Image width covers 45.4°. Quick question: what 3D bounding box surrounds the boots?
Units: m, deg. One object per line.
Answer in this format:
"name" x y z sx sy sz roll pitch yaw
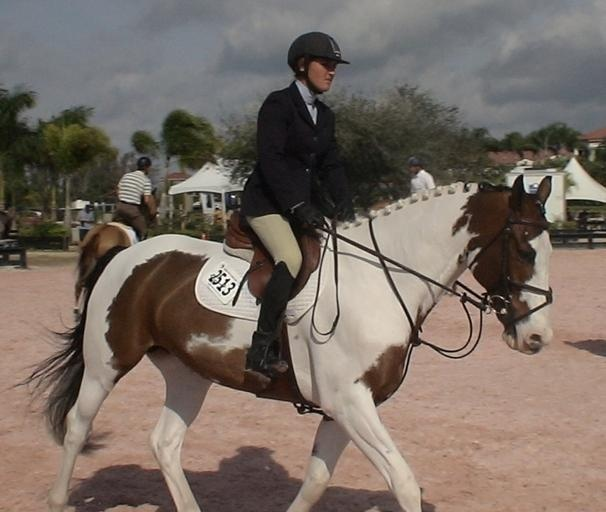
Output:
"boots" -0.192 0.383 4.286 0.270 0.691 0.153 -6 10 -32

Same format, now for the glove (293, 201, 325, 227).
"glove" 0.028 -0.245 4.267 0.206 0.113 0.075 17 30 28

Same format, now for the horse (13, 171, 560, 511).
"horse" -0.136 0.595 4.520 3.174 2.151 0.837 2 9 17

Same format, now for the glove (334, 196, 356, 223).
"glove" 0.262 -0.299 4.642 0.149 0.189 0.109 -7 -27 22
